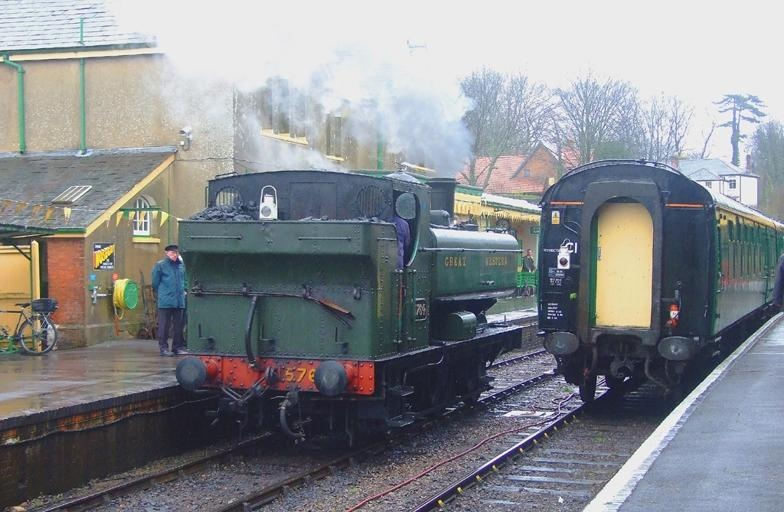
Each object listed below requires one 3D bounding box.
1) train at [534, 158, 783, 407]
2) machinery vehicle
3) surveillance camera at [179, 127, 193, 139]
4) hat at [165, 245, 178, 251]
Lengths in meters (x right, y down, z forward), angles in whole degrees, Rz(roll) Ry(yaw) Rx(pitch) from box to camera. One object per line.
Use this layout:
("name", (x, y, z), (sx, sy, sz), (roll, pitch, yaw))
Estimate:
("train", (5.359, 0.553, 15.562), (2.816, 4.805, 5.400), (6, 7, 38))
("machinery vehicle", (0.021, 0.762, 15.387), (3.543, 4.347, 8.958), (-1, 0, 25))
("surveillance camera", (-5.372, -3.228, 20.235), (0.293, 0.325, 0.337), (4, 16, 12))
("hat", (-4.474, -0.159, 15.728), (0.234, 0.114, 0.277), (0, -1, -5))
